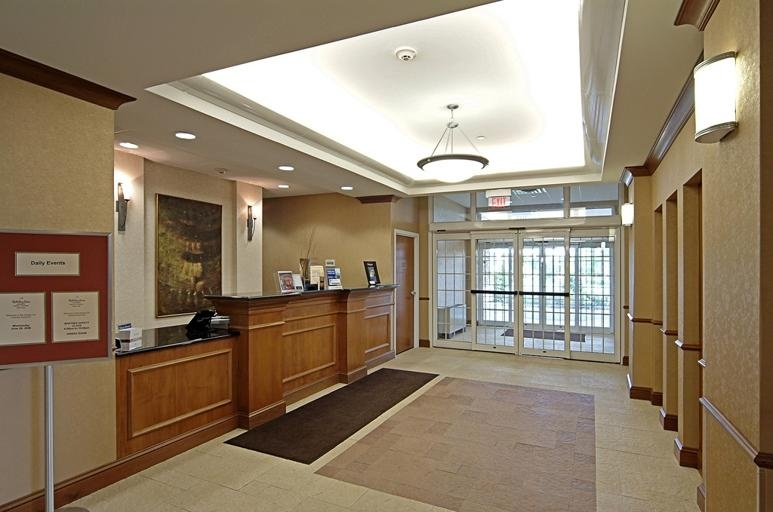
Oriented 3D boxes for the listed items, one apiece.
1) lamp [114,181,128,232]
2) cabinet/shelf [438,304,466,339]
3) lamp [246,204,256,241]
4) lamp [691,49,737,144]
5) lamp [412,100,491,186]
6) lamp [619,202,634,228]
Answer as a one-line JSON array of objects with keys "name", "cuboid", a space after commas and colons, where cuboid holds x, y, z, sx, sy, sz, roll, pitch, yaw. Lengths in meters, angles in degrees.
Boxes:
[{"name": "lamp", "cuboid": [-3.590, -0.651, 6.706, 0.134, 0.669, 0.070, -6, 10, -40]}, {"name": "cabinet/shelf", "cuboid": [1.307, 1.291, 9.894, 0.377, 0.585, 0.732, -2, -3, 26]}, {"name": "lamp", "cuboid": [-2.373, -0.567, 8.661, 0.144, 0.627, 0.210, 1, 7, 0]}, {"name": "lamp", "cuboid": [2.193, -1.055, 3.321, 0.261, 0.564, 0.189, 5, 8, 29]}, {"name": "lamp", "cuboid": [0.903, -1.568, 6.776, 1.013, 0.987, 1.032, 2, 5, 30]}, {"name": "lamp", "cuboid": [3.515, -0.604, 7.287, 0.115, 0.342, 0.612, 3, 7, 21]}]
